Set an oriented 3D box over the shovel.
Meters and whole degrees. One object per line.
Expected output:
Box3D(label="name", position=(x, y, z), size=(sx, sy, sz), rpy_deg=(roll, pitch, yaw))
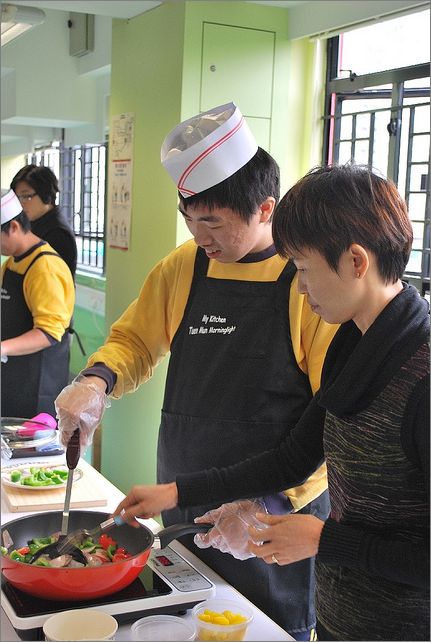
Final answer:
Box3D(label="shovel", position=(-0.288, 0.359, 1.018), size=(0.072, 0.018, 0.209), rpy_deg=(15, 32, -2))
